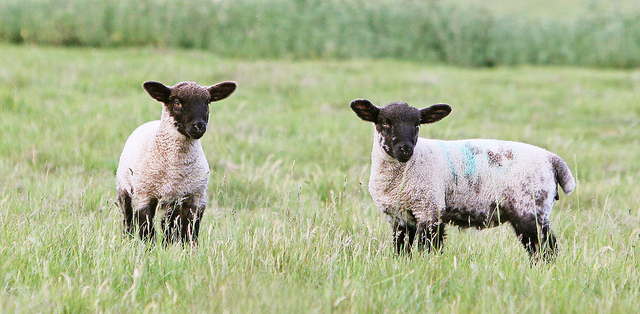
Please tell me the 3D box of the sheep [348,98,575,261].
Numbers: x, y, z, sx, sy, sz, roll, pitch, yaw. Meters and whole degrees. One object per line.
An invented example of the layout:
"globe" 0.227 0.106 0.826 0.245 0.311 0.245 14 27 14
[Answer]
"sheep" 3.270 0.607 19.441 5.632 3.320 2.213 7 10 -1
